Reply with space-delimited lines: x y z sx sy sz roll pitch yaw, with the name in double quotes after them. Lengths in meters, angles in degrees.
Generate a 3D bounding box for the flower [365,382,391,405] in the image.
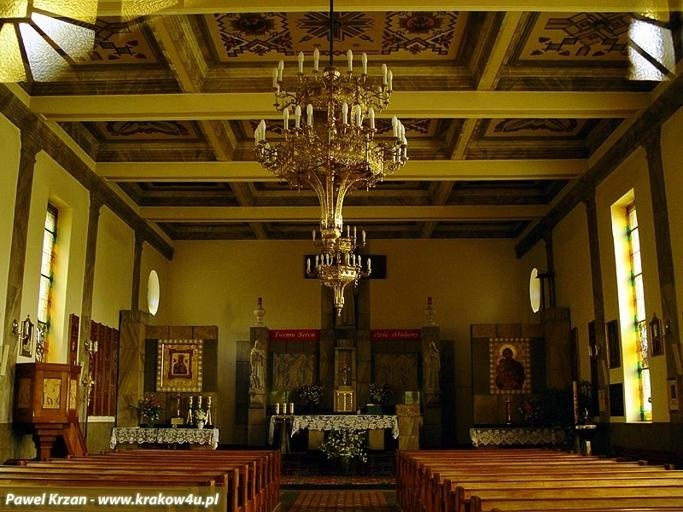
1.284 4.700 20.054 0.734 0.767 0.778 -4 -5 21 "flower"

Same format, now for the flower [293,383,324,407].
-1.091 4.682 19.798 0.781 0.926 0.918 4 -10 -8 "flower"

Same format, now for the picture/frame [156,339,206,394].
-5.180 3.493 18.725 1.443 1.607 0.129 -1 -16 -2 "picture/frame"

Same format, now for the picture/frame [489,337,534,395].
5.433 3.543 18.583 1.764 2.428 0.103 0 -16 4 "picture/frame"

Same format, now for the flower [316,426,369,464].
0.104 5.124 15.769 1.123 1.260 1.250 13 -27 -30 "flower"

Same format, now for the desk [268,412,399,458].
-0.206 4.990 16.369 4.704 1.347 0.989 -1 -13 7 "desk"
